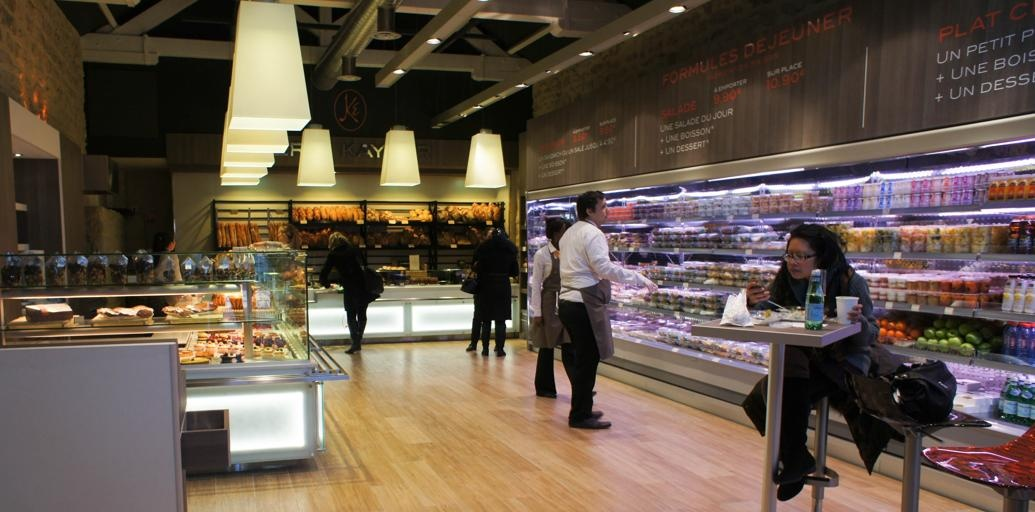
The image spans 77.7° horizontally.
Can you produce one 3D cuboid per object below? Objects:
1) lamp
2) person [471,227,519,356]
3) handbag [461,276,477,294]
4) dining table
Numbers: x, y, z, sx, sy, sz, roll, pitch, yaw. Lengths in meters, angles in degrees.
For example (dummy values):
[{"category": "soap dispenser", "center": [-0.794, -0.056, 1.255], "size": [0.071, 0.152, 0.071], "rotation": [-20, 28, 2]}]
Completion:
[{"category": "lamp", "center": [-1.708, -2.003, 6.966], "size": [3.018, 1.029, 2.717], "rotation": [1, -1, -13]}, {"category": "person", "center": [-0.441, 0.664, 11.163], "size": [0.785, 2.210, 0.725], "rotation": [-1, 15, -3]}, {"category": "handbag", "center": [-0.859, 0.519, 11.284], "size": [0.155, 0.302, 0.384], "rotation": [18, -3, -41]}, {"category": "dining table", "center": [2.172, 1.427, 5.547], "size": [1.405, 1.781, 0.560], "rotation": [0, 15, 1]}]
